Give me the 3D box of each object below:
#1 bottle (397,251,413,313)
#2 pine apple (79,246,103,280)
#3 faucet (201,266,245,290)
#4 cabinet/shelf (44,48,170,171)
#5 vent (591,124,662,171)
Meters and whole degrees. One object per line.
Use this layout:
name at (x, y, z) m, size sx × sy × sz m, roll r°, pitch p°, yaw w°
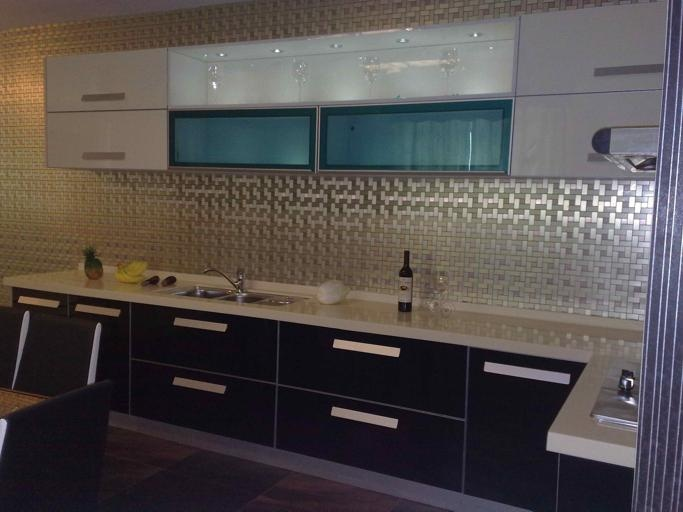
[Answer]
bottle at (0.393, 0.151, 3.252) m, size 0.080 × 0.372 × 0.154 m, roll 3°, pitch 7°, yaw 5°
pine apple at (-1.906, 0.054, 4.026) m, size 0.120 × 0.239 × 0.204 m, roll -2°, pitch 8°, yaw -28°
faucet at (-0.861, 0.159, 3.872) m, size 0.296 × 0.179 × 0.469 m, roll 0°, pitch 8°, yaw -16°
cabinet/shelf at (-1.629, -1.075, 4.091) m, size 1.145 × 0.847 × 0.627 m, roll 4°, pitch 8°, yaw 20°
vent at (0.722, -0.272, 1.321) m, size 0.120 × 0.063 × 0.540 m, roll 6°, pitch 9°, yaw 31°
